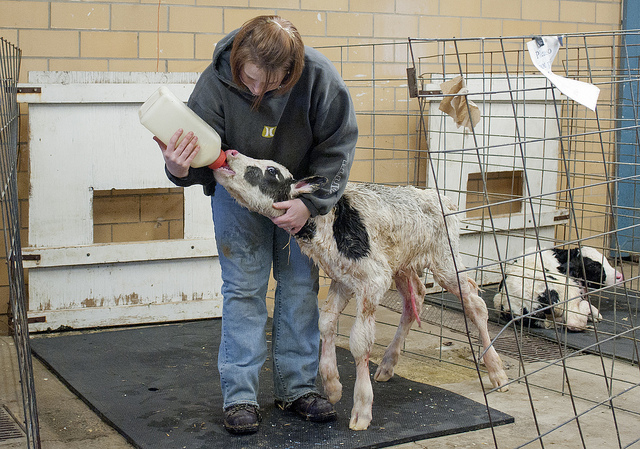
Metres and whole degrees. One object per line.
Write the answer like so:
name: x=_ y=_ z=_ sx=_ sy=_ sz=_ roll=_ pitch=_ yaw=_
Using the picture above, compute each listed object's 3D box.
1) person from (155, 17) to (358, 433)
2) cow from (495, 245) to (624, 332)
person: x=-0.322 y=0.014 z=4.346 sx=0.960 sy=2.446 sz=0.736 roll=5 pitch=14 yaw=16
cow: x=2.049 y=0.549 z=6.225 sx=1.085 sy=0.695 sz=0.729 roll=0 pitch=-4 yaw=-14
